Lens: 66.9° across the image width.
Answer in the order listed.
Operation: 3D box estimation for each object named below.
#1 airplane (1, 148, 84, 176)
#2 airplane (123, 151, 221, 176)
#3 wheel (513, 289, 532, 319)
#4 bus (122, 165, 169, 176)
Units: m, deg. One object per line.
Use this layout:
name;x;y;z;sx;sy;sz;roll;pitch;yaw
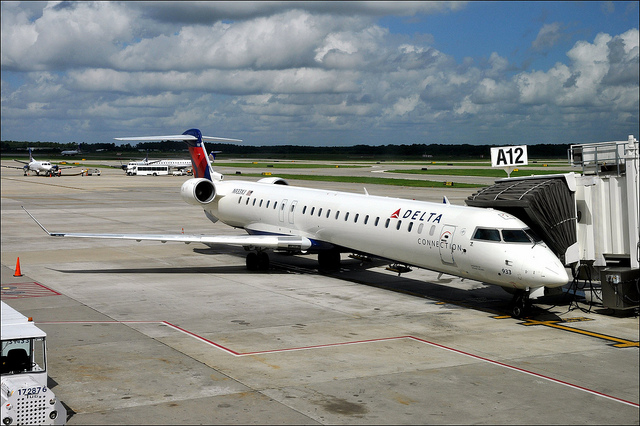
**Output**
airplane;-61.854;-10.247;108.017;9.418;2.106;8.291;1;2;-37
airplane;-32.551;-11.981;121.396;29.868;4.927;22.748;0;4;-25
wheel;7.422;3.291;17.711;0.662;1.050;0.443;3;10;16
bus;-40.731;-10.048;114.491;11.051;1.853;3.284;0;1;-27
